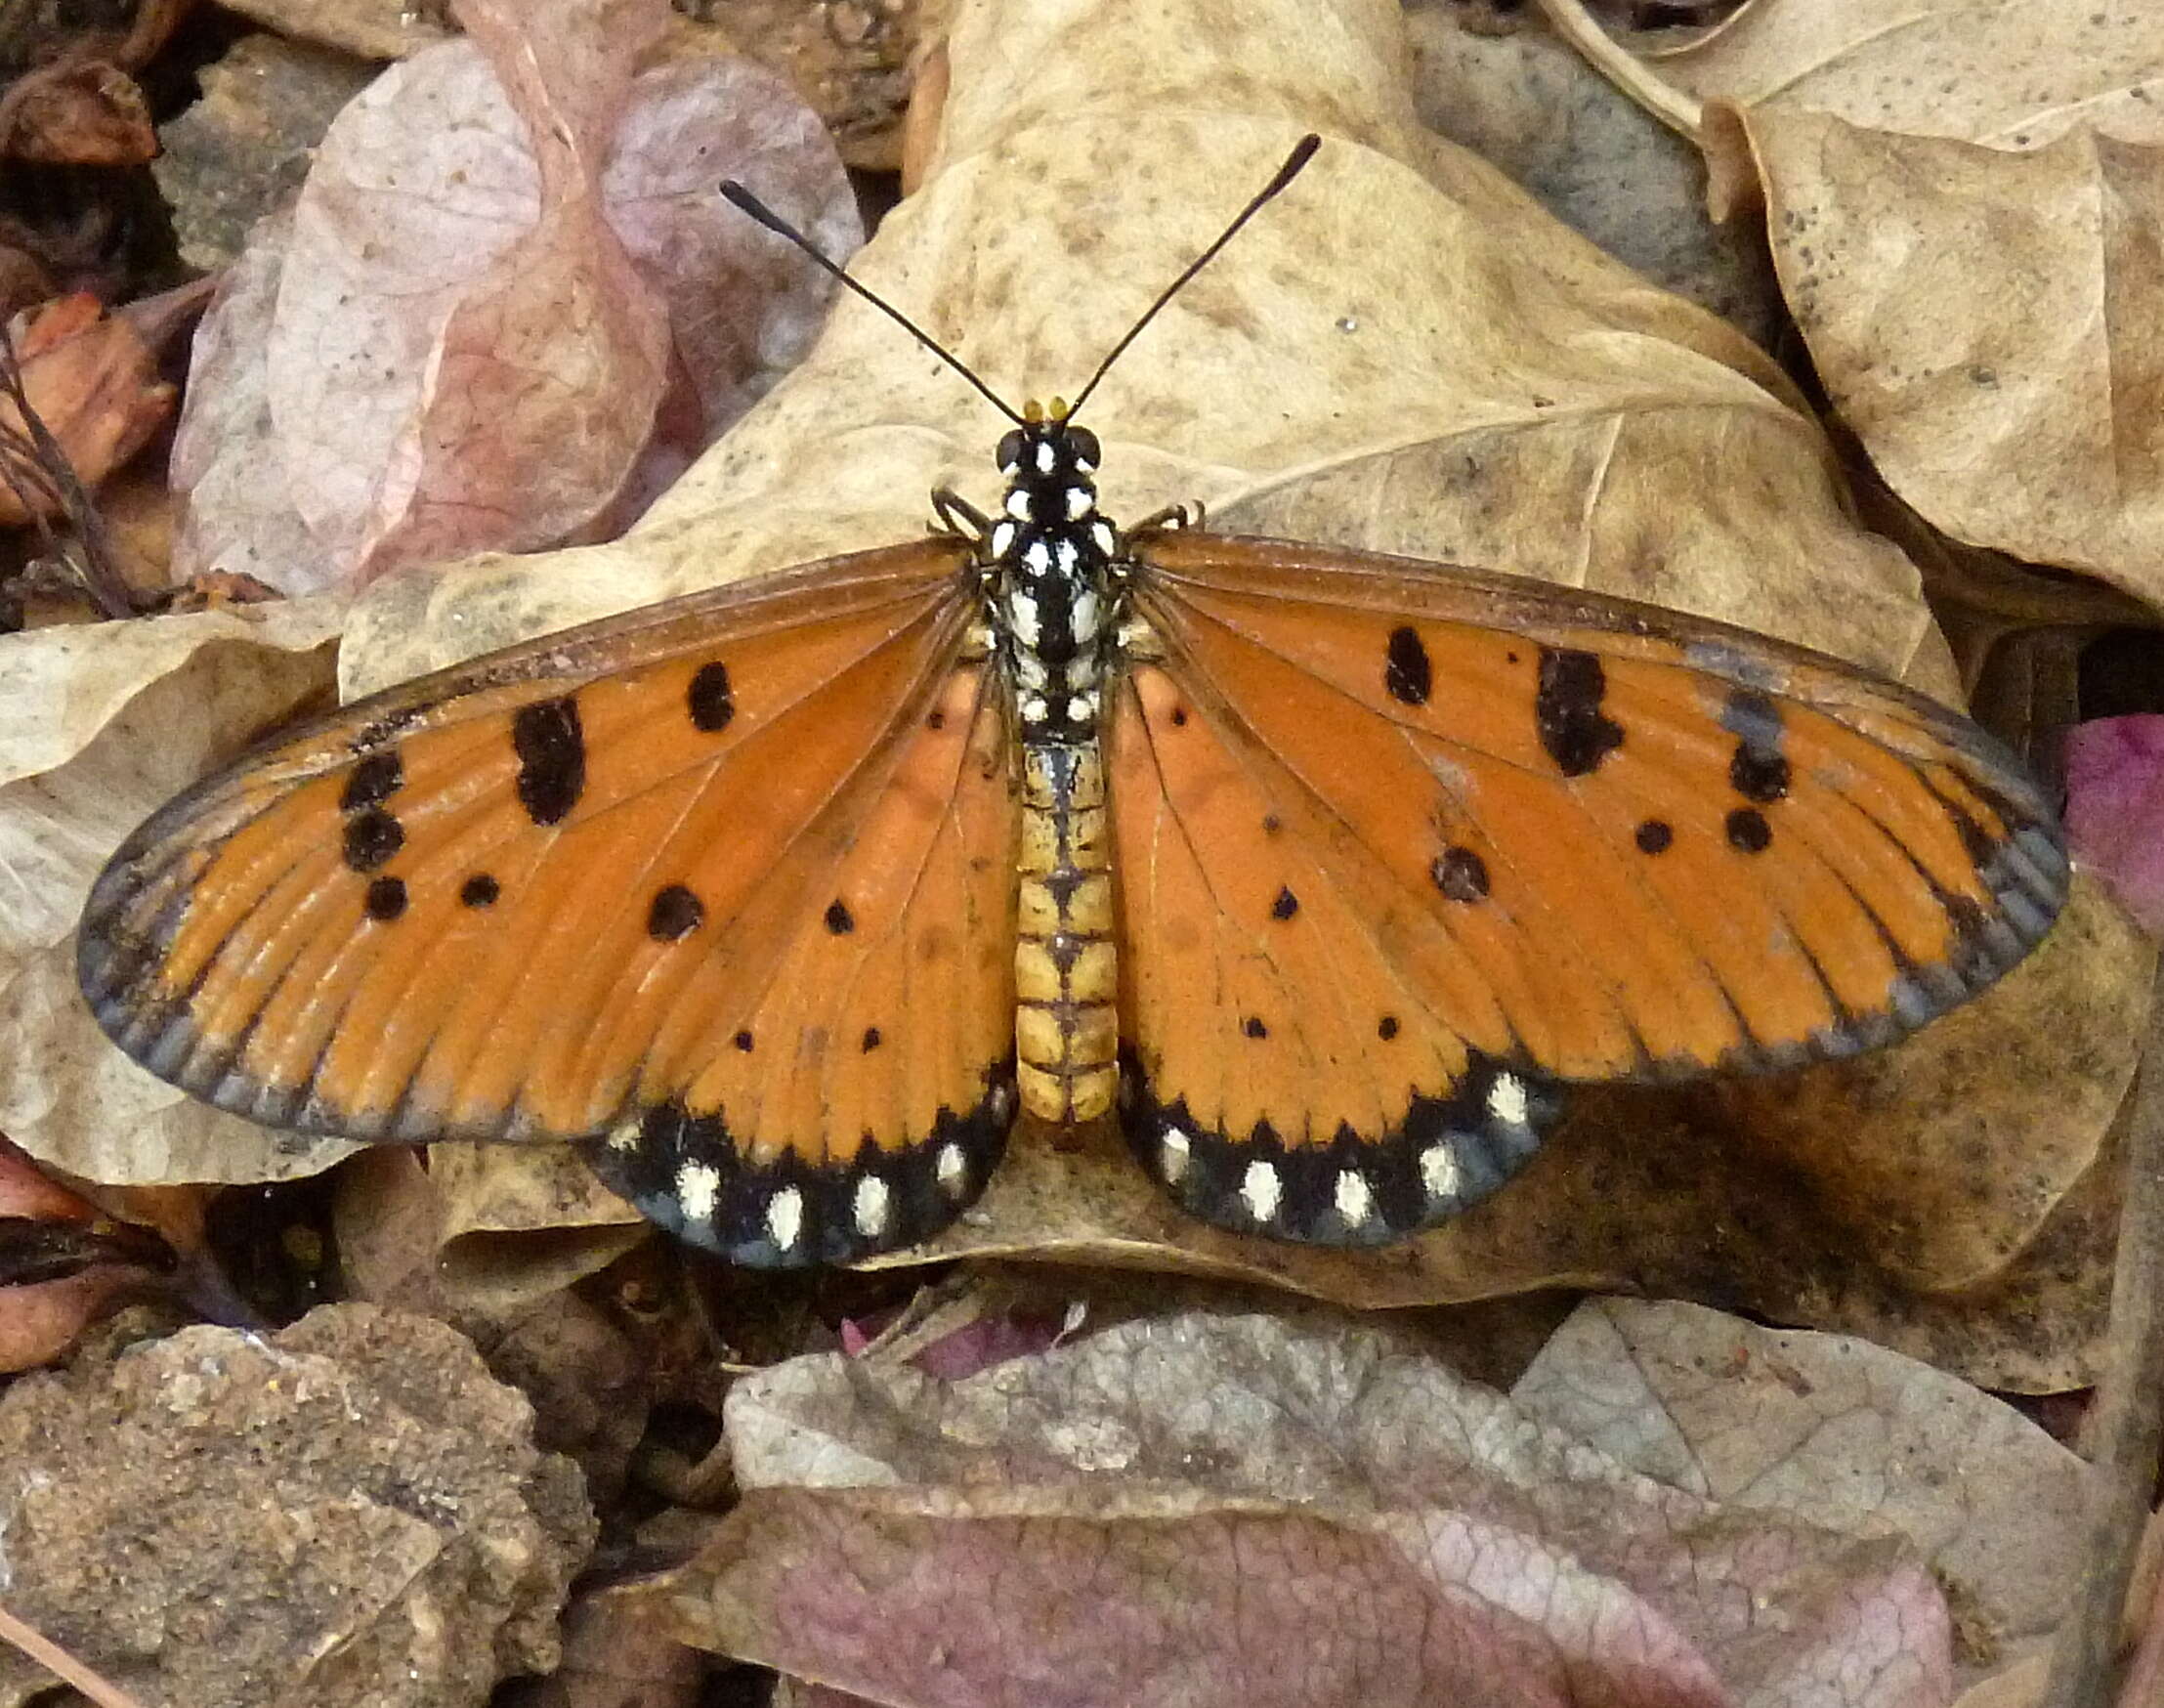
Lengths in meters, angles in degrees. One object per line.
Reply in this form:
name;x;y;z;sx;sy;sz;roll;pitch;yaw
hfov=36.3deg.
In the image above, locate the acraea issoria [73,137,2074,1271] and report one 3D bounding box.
acraea issoria;0.069;-0.153;4.431;2.072;0.710;1.424;1;83;1
